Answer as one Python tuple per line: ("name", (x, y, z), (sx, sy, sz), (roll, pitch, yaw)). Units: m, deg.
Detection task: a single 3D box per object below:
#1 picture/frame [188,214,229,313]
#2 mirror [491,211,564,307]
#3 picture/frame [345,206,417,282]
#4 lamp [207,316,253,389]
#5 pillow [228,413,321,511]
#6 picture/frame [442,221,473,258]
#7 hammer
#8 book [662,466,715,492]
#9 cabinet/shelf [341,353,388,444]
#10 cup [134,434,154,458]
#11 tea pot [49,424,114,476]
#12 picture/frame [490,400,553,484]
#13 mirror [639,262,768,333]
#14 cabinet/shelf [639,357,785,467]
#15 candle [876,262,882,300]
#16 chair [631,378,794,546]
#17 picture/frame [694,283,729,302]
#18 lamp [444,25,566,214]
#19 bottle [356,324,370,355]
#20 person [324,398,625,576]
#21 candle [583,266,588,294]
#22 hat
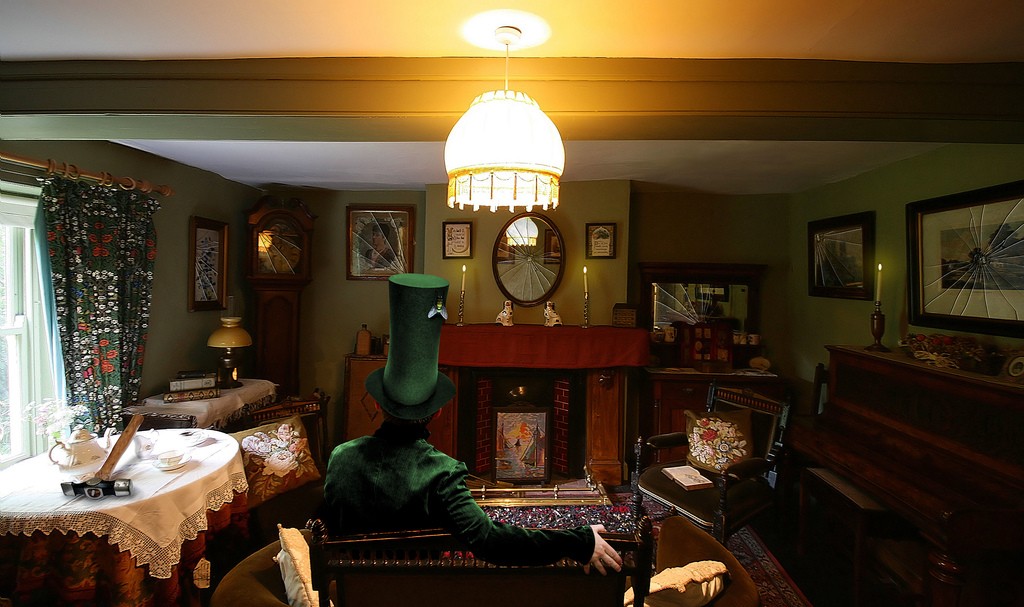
("picture/frame", (-3.199, -0.404, 7.300), (0.090, 0.996, 0.480), (1, 4, 19))
("mirror", (0.205, -0.488, 7.567), (1.107, 1.265, 0.138), (0, 2, 1))
("picture/frame", (-1.487, -0.723, 7.879), (1.050, 1.088, 0.110), (0, 1, -2))
("lamp", (-2.913, 0.518, 7.152), (0.463, 0.702, 0.451), (3, -7, -38))
("pillow", (-2.022, 1.340, 5.912), (0.790, 0.668, 0.229), (-16, 0, -43))
("picture/frame", (-0.592, -0.723, 7.635), (0.423, 0.471, 0.067), (1, 1, 0))
("hammer", (-3.107, 1.174, 5.327), (0.338, 0.118, 0.633), (2, 33, -14))
("book", (1.592, 1.580, 6.311), (0.314, 0.113, 0.405), (-2, 5, -29))
("cabinet/shelf", (-1.687, 1.164, 7.837), (0.407, 1.040, 0.542), (-4, -9, -18))
("cup", (-2.938, 1.140, 5.536), (0.186, 0.153, 0.134), (0, -2, 15))
("tea pot", (-3.355, 1.153, 5.409), (0.358, 0.331, 0.485), (3, 9, 27))
("picture/frame", (0.101, 1.455, 7.151), (0.862, 1.014, 0.074), (0, 0, -1))
("mirror", (2.096, -0.078, 7.750), (0.824, 0.669, 0.088), (1, 1, -2))
("cabinet/shelf", (2.168, 1.235, 7.616), (1.663, 1.454, 0.976), (1, -5, 5))
("candle", (3.416, -0.204, 6.453), (0.053, 0.343, 0.422), (2, 5, 28))
("chair", (1.792, 1.546, 6.393), (1.041, 1.397, 1.071), (-5, 10, -27))
("picture/frame", (2.240, -0.123, 7.781), (0.376, 0.253, 0.201), (2, 10, 3))
("lamp", (-0.050, -1.374, 4.912), (0.791, 1.031, 0.770), (-7, 17, -31))
("bottle", (-1.654, 0.405, 7.704), (0.118, 0.258, 0.330), (0, -1, -5))
("person", (-0.600, 1.304, 4.873), (2.462, 0.914, 1.213), (1, -12, 28))
("candle", (0.809, -0.261, 7.513), (0.062, 0.290, 0.077), (-1, 4, -4))
("hat", (-0.665, 0.223, 4.749), (0.621, 0.778, 0.794), (4, 14, -7))
